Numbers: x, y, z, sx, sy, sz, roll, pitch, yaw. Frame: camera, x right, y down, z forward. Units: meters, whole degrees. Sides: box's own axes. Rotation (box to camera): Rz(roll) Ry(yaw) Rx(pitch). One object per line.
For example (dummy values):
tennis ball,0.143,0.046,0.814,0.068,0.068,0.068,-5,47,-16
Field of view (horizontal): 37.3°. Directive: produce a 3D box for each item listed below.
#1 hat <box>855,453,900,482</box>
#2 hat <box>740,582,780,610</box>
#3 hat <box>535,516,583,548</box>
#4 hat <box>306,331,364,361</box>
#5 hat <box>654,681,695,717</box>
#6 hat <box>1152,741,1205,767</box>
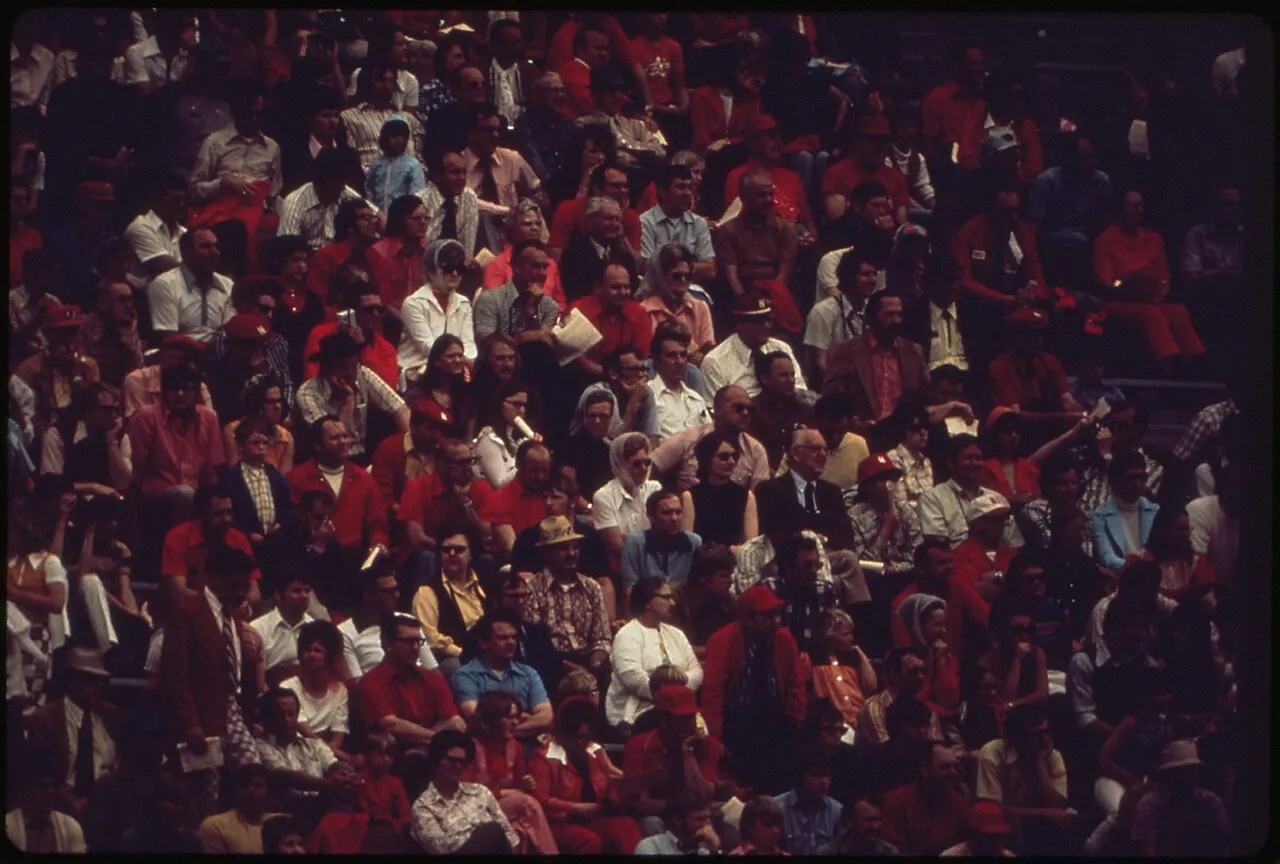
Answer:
hat,1.126,0.175,9.084,0.154,0.072,0.122,-21,-14,30
hat,0.568,0.790,9.065,0.163,0.081,0.119,-6,4,10
hat,-0.405,0.479,9.031,0.153,0.064,0.173,-6,-12,-36
hat,-1.461,-0.397,9.031,0.181,0.063,0.160,-6,-1,24
hat,0.164,1.280,9.016,0.139,0.085,0.179,3,-6,-36
hat,2.577,1.565,9.115,0.150,0.075,0.139,-20,-7,6
